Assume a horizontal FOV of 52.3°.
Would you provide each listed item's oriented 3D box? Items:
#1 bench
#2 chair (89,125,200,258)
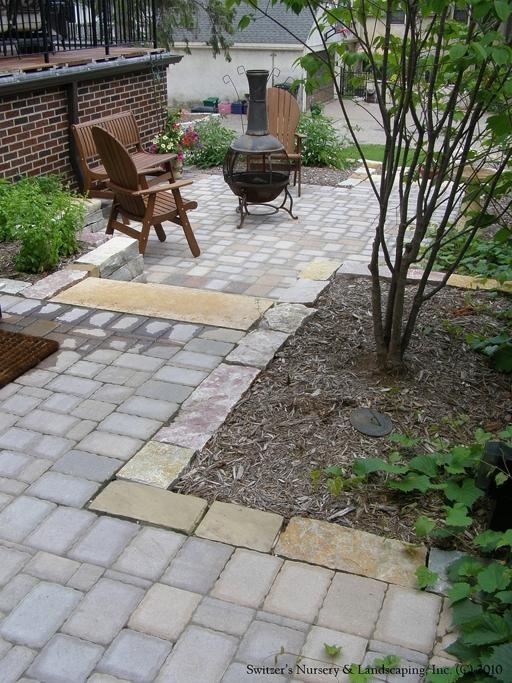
[{"bbox_3d":[-1.646,-2.389,6.860,0.842,0.890,1.179,21,39,11],"label":"bench"},{"bbox_3d":[-1.168,-1.635,5.726,1.096,1.257,1.043,0,25,-7],"label":"chair"}]
